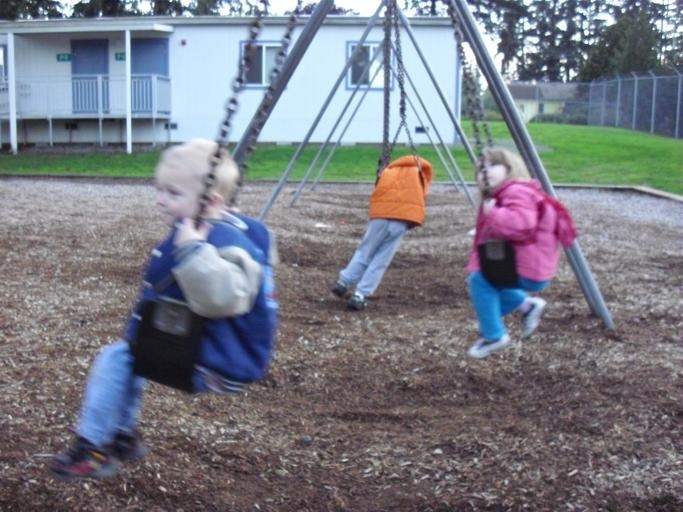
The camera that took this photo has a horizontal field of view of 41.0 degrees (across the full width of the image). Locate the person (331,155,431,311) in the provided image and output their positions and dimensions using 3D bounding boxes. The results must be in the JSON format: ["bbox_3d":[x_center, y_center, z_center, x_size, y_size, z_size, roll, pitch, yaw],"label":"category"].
[{"bbox_3d":[0.405,-0.241,8.643,0.886,1.457,0.428,2,10,-8],"label":"person"}]

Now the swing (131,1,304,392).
[{"bbox_3d":[-0.895,-0.400,6.050,0.484,2.506,1.245,6,10,16],"label":"swing"}]

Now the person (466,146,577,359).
[{"bbox_3d":[1.371,0.028,7.122,0.749,1.705,0.504,5,10,8],"label":"person"}]

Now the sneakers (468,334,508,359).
[{"bbox_3d":[1.188,0.735,7.326,0.267,0.099,0.115,-25,-40,16],"label":"sneakers"}]

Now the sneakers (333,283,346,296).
[{"bbox_3d":[-0.018,0.324,8.739,0.081,0.097,0.143,14,11,-5],"label":"sneakers"}]
